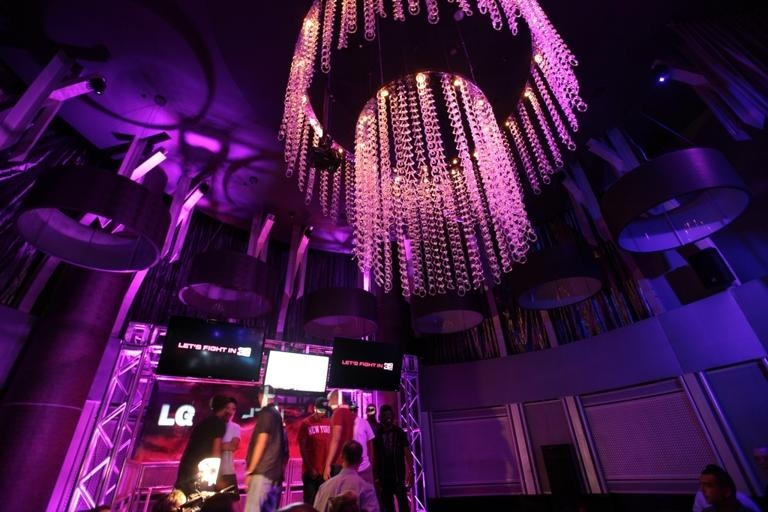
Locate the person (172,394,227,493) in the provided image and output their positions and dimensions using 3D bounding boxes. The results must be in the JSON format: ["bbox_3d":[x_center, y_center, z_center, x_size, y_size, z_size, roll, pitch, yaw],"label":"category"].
[{"bbox_3d":[-2.760,2.756,6.675,0.576,1.198,0.301,9,-30,-13],"label":"person"}]

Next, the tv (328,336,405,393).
[{"bbox_3d":[-0.440,2.462,9.828,1.359,0.986,0.152,8,-25,-14],"label":"tv"}]
